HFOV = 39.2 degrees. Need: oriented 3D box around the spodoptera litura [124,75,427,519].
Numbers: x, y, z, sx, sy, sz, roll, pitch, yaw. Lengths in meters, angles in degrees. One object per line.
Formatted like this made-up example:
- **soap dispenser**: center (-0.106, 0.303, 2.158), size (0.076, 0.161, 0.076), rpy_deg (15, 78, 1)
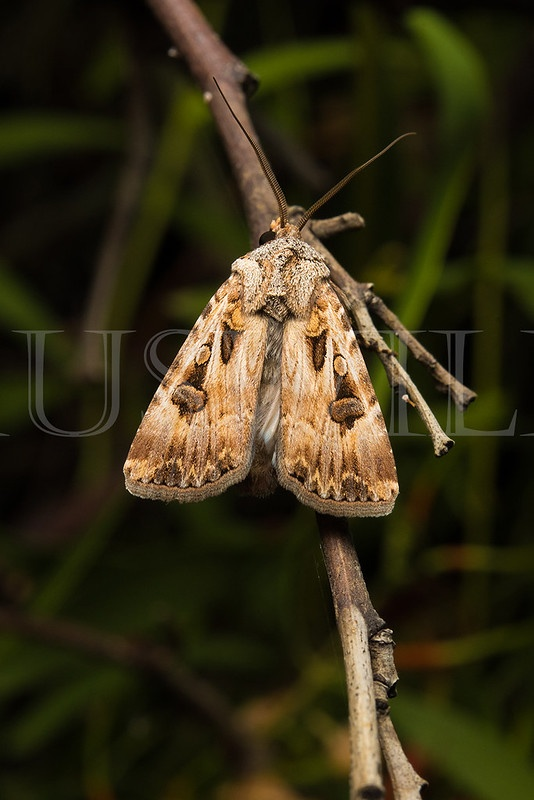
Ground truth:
- **spodoptera litura**: center (0.013, -0.108, 1.153), size (0.415, 0.535, 0.288), rpy_deg (8, 23, 22)
